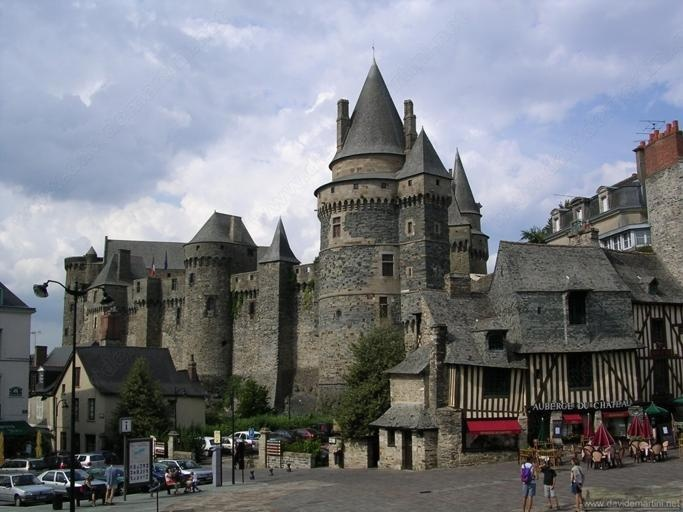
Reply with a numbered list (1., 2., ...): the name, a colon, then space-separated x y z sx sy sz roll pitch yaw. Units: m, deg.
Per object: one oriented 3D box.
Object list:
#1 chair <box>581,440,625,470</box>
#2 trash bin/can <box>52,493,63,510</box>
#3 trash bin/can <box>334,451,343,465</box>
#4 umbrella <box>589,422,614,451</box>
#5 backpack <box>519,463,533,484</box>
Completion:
1. chair: 12.840 9.847 49.599 1.757 1.390 1.685 -9 -17 19
2. trash bin/can: -13.139 11.413 46.498 0.448 0.664 0.540 1 -17 -15
3. trash bin/can: -0.224 12.159 60.366 0.514 0.890 0.241 3 -18 -21
4. umbrella: 12.897 8.951 49.704 1.327 1.270 1.241 -1 -4 -15
5. backpack: 7.772 9.155 42.309 0.465 0.856 0.298 -3 -17 1
